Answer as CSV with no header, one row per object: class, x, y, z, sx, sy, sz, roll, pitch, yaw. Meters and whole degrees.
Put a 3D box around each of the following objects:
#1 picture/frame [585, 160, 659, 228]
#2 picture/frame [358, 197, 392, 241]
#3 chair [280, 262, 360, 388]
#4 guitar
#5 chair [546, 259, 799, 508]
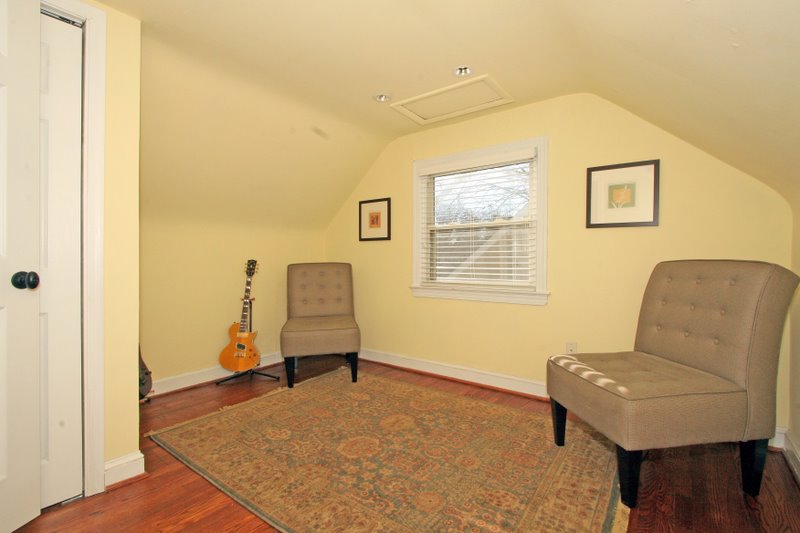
picture/frame,1.701,-0.540,4.038,0.577,0.537,0.020,-1,-3,31
picture/frame,-0.237,-0.457,5.278,0.471,0.444,0.031,0,-1,36
chair,-0.733,0.489,4.906,0.787,0.922,0.847,-4,10,-19
guitar,-1.393,0.462,4.790,0.350,1.011,0.490,3,10,15
chair,1.829,0.699,4.116,1.599,1.859,1.488,1,0,-7
